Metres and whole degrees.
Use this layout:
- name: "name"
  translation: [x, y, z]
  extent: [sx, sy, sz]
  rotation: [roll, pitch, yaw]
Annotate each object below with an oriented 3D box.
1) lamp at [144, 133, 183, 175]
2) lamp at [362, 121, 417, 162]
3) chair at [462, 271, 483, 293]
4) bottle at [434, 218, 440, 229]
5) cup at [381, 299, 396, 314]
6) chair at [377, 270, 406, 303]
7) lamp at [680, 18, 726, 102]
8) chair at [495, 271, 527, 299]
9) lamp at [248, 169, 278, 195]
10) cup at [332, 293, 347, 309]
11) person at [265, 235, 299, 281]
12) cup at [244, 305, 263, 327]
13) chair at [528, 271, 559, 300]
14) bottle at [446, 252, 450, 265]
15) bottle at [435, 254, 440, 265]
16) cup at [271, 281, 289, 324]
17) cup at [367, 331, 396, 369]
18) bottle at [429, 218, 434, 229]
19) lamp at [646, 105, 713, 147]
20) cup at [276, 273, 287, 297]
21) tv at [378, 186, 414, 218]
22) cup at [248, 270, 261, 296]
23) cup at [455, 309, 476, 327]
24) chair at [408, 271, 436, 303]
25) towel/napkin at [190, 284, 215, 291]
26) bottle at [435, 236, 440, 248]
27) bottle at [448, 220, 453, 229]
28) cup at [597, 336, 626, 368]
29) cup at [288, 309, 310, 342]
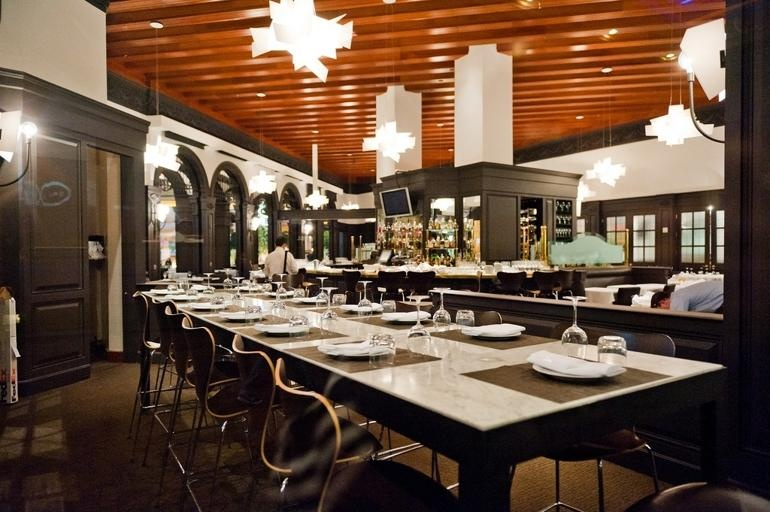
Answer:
- name: "lamp"
  translation: [-3.623, -1.682, 9.469]
  extent: [0.431, 0.489, 0.652]
  rotation: [-3, 2, -10]
- name: "lamp"
  translation: [0.005, -1.798, 9.148]
  extent: [0.866, 0.379, 0.866]
  rotation: [11, 18, 14]
- name: "chair"
  translation: [1.332, 0.397, 8.567]
  extent: [0.246, 0.433, 0.287]
  rotation: [1, 1, -42]
- name: "bottle"
  translation: [0.989, -0.597, 11.035]
  extent: [0.116, 0.186, 0.039]
  rotation: [-2, 3, 1]
- name: "cup"
  translation: [0.030, 0.436, 4.995]
  extent: [0.100, 0.098, 0.101]
  rotation: [-1, -2, 0]
- name: "chair"
  translation: [0.113, 0.453, 8.556]
  extent: [0.374, 0.587, 0.421]
  rotation: [1, 6, 6]
- name: "lamp"
  translation: [2.801, -1.752, 5.194]
  extent: [0.348, 0.695, 0.431]
  rotation: [-1, 3, 27]
- name: "chair"
  translation: [1.815, 0.421, 8.473]
  extent: [0.377, 0.573, 0.415]
  rotation: [1, 12, 9]
- name: "lamp"
  translation: [-2.806, -1.613, 13.326]
  extent: [0.704, 0.519, 0.704]
  rotation: [-2, 4, -7]
- name: "cup"
  translation: [-0.438, 0.431, 5.537]
  extent: [0.116, 0.111, 0.116]
  rotation: [1, -4, 0]
- name: "person"
  translation: [-1.801, 0.091, 9.976]
  extent: [0.507, 0.787, 0.461]
  rotation: [0, -5, -21]
- name: "cup"
  translation: [-1.092, 0.500, 4.879]
  extent: [0.129, 0.141, 0.146]
  rotation: [-1, 1, -29]
- name: "chair"
  translation: [2.328, 0.436, 8.547]
  extent: [0.322, 0.558, 0.369]
  rotation: [-2, 16, 1]
- name: "bottle"
  translation: [1.204, 0.058, 11.139]
  extent: [0.073, 0.243, 0.058]
  rotation: [-1, 3, 18]
- name: "bottle"
  translation: [0.998, 0.089, 11.132]
  extent: [0.125, 0.231, 0.125]
  rotation: [0, 2, 0]
- name: "cup"
  translation: [-0.952, 0.359, 5.289]
  extent: [0.132, 0.256, 0.136]
  rotation: [4, 11, -1]
- name: "cup"
  translation: [-0.010, 0.638, 3.927]
  extent: [0.177, 0.191, 0.177]
  rotation: [-1, -6, 0]
- name: "bottle"
  translation: [0.881, -0.607, 11.103]
  extent: [0.116, 0.203, 0.112]
  rotation: [-2, 2, 0]
- name: "lamp"
  translation: [4.091, -1.760, 8.370]
  extent: [0.634, 0.197, 0.609]
  rotation: [-27, 9, -26]
- name: "cup"
  translation: [-1.241, 0.356, 7.035]
  extent: [0.201, 0.252, 0.201]
  rotation: [0, -4, 0]
- name: "tv"
  translation: [0.250, -1.058, 11.640]
  extent: [0.345, 0.550, 0.850]
  rotation: [-4, 3, -34]
- name: "cup"
  translation: [-1.788, 0.383, 8.021]
  extent: [0.192, 0.304, 0.193]
  rotation: [0, -5, 0]
- name: "cup"
  translation: [0.617, 0.484, 4.509]
  extent: [0.130, 0.134, 0.139]
  rotation: [-1, -1, 0]
- name: "chair"
  translation: [0.516, 0.431, 8.345]
  extent: [0.341, 0.583, 0.401]
  rotation: [1, 5, 4]
- name: "towel/napkin"
  translation: [-2.385, 0.418, 7.523]
  extent: [0.199, 0.047, 0.199]
  rotation: [0, 1, -42]
- name: "bottle"
  translation: [1.003, -0.256, 11.111]
  extent: [0.104, 0.187, 0.061]
  rotation: [-2, 3, 5]
- name: "bottle"
  translation: [1.236, -0.581, 11.021]
  extent: [0.157, 0.158, 0.060]
  rotation: [-2, 3, 5]
- name: "cup"
  translation: [1.475, 0.636, 3.837]
  extent: [0.188, 0.181, 0.189]
  rotation: [0, -3, 0]
- name: "cup"
  translation: [-0.652, 0.531, 4.460]
  extent: [0.166, 0.187, 0.166]
  rotation: [0, 1, 0]
